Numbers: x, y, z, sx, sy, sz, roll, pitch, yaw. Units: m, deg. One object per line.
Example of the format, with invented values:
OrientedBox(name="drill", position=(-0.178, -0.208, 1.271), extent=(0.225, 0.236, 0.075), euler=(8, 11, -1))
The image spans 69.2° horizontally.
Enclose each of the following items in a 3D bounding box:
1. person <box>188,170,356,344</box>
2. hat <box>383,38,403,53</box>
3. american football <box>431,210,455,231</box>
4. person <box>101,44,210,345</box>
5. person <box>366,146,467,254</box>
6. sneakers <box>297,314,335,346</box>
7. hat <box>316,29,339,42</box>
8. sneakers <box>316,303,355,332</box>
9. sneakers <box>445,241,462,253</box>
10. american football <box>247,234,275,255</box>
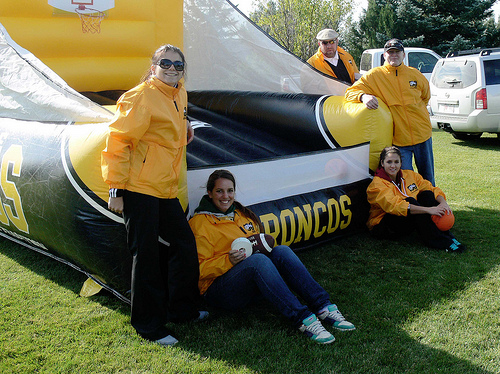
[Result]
OrientedBox(name="person", position=(0.192, 0.428, 3.102), extent=(1.426, 1.415, 0.771), euler=(2, 10, 30))
OrientedBox(name="hat", position=(1.671, -1.643, 4.229), extent=(0.195, 0.157, 0.441), euler=(1, 16, 21))
OrientedBox(name="american football", position=(2.012, 0.330, 3.780), extent=(0.196, 0.235, 0.193), euler=(-14, 21, -36))
OrientedBox(name="person", position=(-0.611, 0.200, 2.400), extent=(0.570, 1.685, 0.354), euler=(-10, 15, -21))
OrientedBox(name="person", position=(1.748, 0.031, 4.143), extent=(0.816, 1.156, 1.086), euler=(-25, 17, -36))
OrientedBox(name="sneakers", position=(0.428, 0.947, 2.498), extent=(0.109, 0.133, 0.295), euler=(-20, 13, -32))
OrientedBox(name="hat", position=(1.048, -2.063, 4.946), extent=(0.283, 0.165, 0.291), euler=(-1, 15, 13))
OrientedBox(name="sneakers", position=(0.589, 0.905, 2.620), extent=(0.323, 0.137, 0.111), euler=(8, 13, 44))
OrientedBox(name="sneakers", position=(2.033, 0.595, 3.620), extent=(0.146, 0.088, 0.108), euler=(-10, 16, -21))
OrientedBox(name="american football", position=(0.077, 0.417, 2.657), extent=(0.179, 0.115, 0.118), euler=(-3, 2, -22))
